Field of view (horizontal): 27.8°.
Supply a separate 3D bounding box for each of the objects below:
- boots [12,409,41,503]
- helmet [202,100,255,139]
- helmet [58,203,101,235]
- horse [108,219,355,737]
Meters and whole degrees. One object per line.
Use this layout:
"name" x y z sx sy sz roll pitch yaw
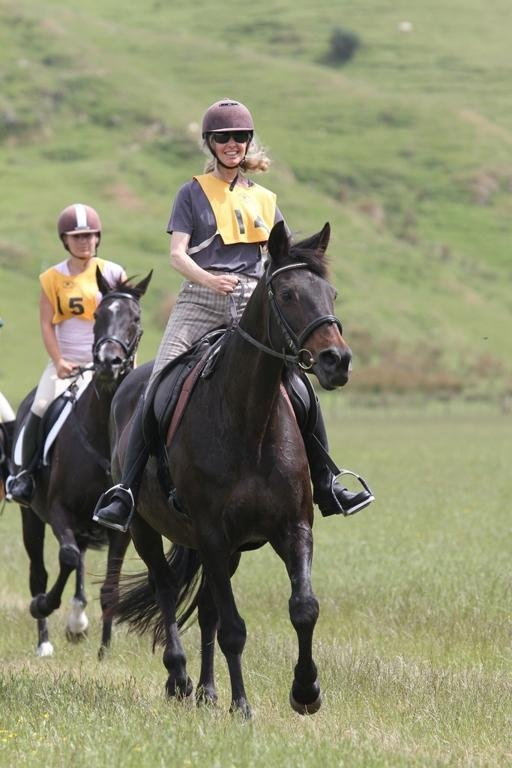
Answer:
"boots" -2.069 0.689 9.557 0.284 0.781 0.253 9 -12 -8
"helmet" -0.188 -1.834 7.090 0.339 0.308 0.205 0 -6 -2
"helmet" -1.623 -1.527 9.598 0.362 0.352 0.346 1 -6 -13
"horse" -0.234 0.908 7.198 1.111 2.766 4.426 2 -15 -19
